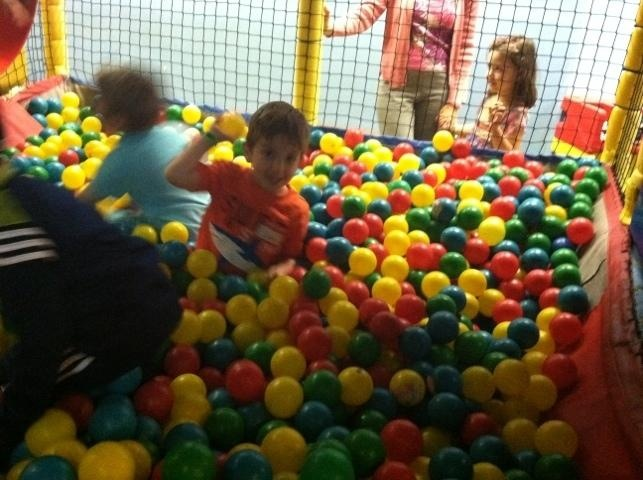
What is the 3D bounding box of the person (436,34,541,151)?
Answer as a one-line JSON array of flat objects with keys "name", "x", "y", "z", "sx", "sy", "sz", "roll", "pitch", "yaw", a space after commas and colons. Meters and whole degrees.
[{"name": "person", "x": 1.155, "y": -1.197, "z": 3.964, "sx": 0.743, "sy": 1.020, "sz": 0.650, "roll": -2, "pitch": 32, "yaw": 7}]
